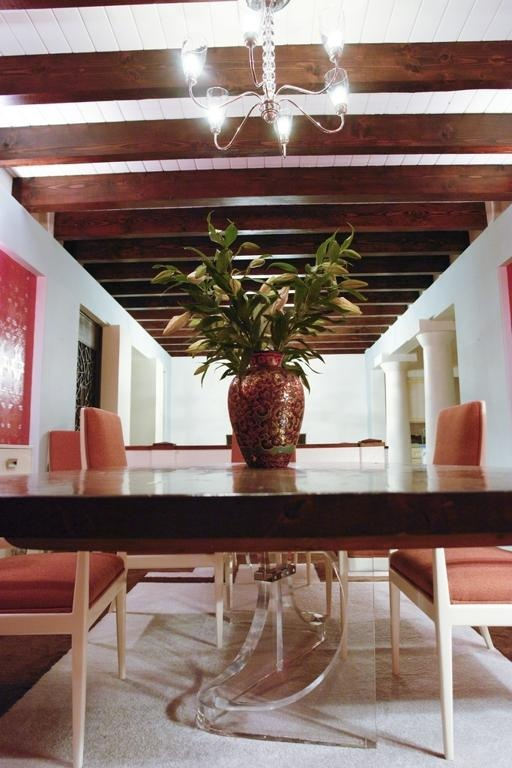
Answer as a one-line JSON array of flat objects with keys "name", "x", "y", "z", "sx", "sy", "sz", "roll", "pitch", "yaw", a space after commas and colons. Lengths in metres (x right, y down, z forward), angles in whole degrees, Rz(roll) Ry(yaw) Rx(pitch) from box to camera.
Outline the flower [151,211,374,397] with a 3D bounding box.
[{"name": "flower", "x": 0.021, "y": -0.581, "z": 3.733, "sx": 1.477, "sy": 1.051, "sz": 1.414, "roll": 3, "pitch": -13, "yaw": -6}]

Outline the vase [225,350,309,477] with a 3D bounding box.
[{"name": "vase", "x": 0.026, "y": 0.059, "z": 1.366, "sx": 0.187, "sy": 0.261, "sz": 0.175, "roll": 1, "pitch": -1, "yaw": -28}]
